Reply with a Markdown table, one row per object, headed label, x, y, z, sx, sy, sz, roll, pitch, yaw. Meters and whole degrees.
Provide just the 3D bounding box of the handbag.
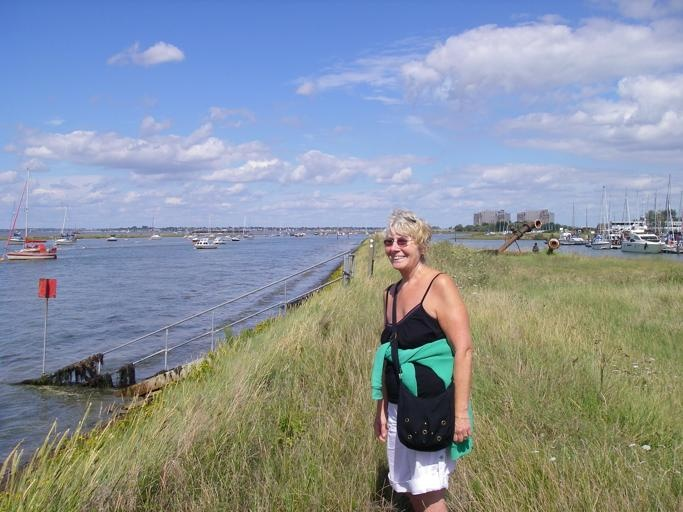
| label | x | y | z | sx | sy | sz | roll | pitch | yaw |
| --- | --- | --- | --- | --- | --- | --- | --- | --- | --- |
| handbag | 0.837 | 1.605 | 5.409 | 0.595 | 0.843 | 0.469 | -2 | 5 | -18 |
